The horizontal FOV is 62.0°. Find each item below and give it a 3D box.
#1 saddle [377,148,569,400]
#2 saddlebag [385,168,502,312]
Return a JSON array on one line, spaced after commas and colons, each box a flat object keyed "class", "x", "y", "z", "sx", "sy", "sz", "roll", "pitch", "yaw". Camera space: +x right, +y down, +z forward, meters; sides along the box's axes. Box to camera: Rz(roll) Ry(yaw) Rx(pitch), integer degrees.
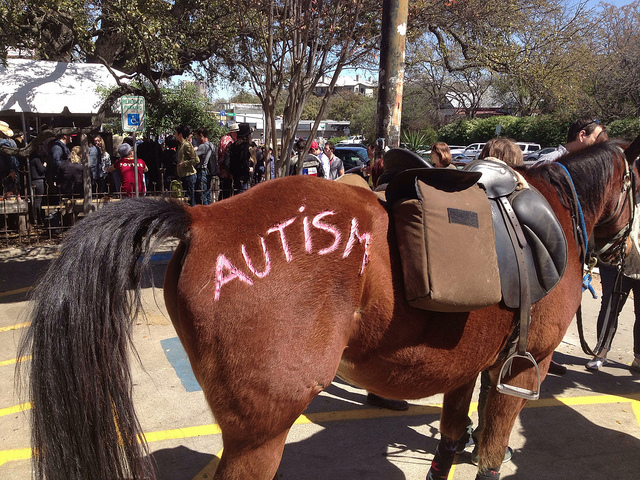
[{"class": "saddle", "x": 1.152, "y": 0.206, "z": 3.641, "sx": 1.040, "sy": 1.407, "sz": 1.106, "roll": 2, "pitch": 2, "yaw": 36}, {"class": "saddlebag", "x": 0.754, "y": 0.013, "z": 3.160, "sx": 0.646, "sy": 0.881, "sz": 0.440, "roll": 5, "pitch": -17, "yaw": -30}]
